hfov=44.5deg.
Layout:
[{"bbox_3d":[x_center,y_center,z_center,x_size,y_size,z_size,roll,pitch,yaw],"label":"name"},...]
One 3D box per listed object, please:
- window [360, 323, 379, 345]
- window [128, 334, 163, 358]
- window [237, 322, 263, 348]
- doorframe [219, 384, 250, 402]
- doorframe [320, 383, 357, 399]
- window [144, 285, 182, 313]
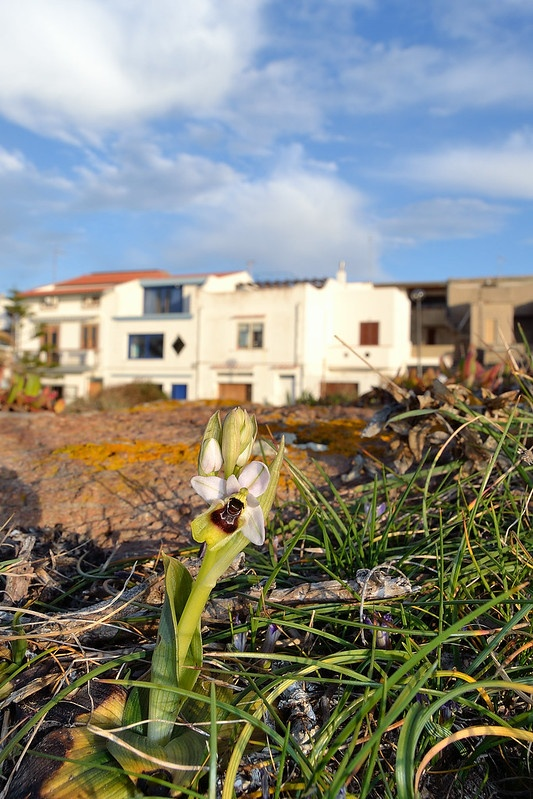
[{"bbox_3d":[4.624,-3.019,29.613,0.982,1.027,0.500,1,3,23],"label":"window"},{"bbox_3d":[-5.605,-2.507,30.675,1.945,1.360,1.099,4,7,34],"label":"window"},{"bbox_3d":[-0.683,-2.779,28.192,1.122,1.137,0.101,-2,-4,23],"label":"window"},{"bbox_3d":[-1.409,-0.345,28.355,1.600,0.733,0.484,2,3,34],"label":"doorframe"},{"bbox_3d":[3.008,-0.381,27.049,0.940,0.602,1.001,-2,-2,28],"label":"doorframe"},{"bbox_3d":[-5.078,-4.924,32.010,1.660,1.503,0.391,5,5,23],"label":"window"}]
